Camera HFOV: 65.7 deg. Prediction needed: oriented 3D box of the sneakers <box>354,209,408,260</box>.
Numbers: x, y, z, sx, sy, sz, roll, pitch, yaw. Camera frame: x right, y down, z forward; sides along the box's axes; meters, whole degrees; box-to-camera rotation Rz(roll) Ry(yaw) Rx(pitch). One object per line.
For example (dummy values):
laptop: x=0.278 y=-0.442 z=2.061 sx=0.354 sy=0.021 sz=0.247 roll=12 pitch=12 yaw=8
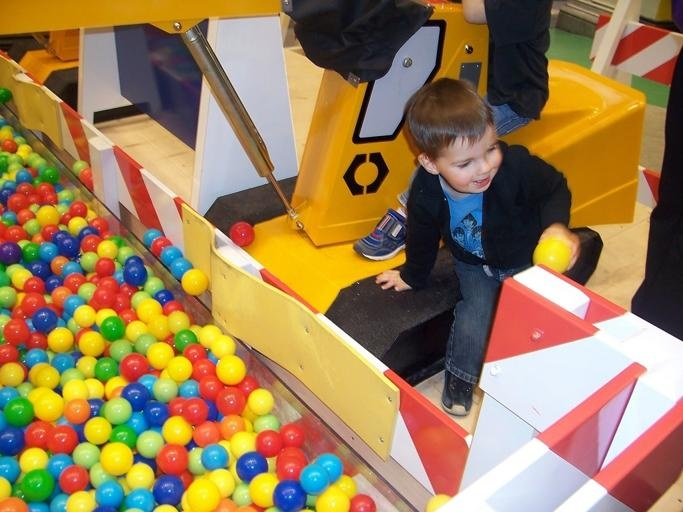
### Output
sneakers: x=0.166 y=-0.091 z=1.936 sx=0.095 sy=0.126 sz=0.269 roll=29 pitch=56 yaw=36

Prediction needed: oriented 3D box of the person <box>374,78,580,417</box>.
person: x=0.405 y=-0.040 z=1.662 sx=0.538 sy=0.865 sz=0.617 roll=-23 pitch=44 yaw=-2

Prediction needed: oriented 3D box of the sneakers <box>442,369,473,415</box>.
sneakers: x=0.383 y=0.433 z=1.761 sx=0.058 sy=0.075 sz=0.181 roll=2 pitch=27 yaw=0
